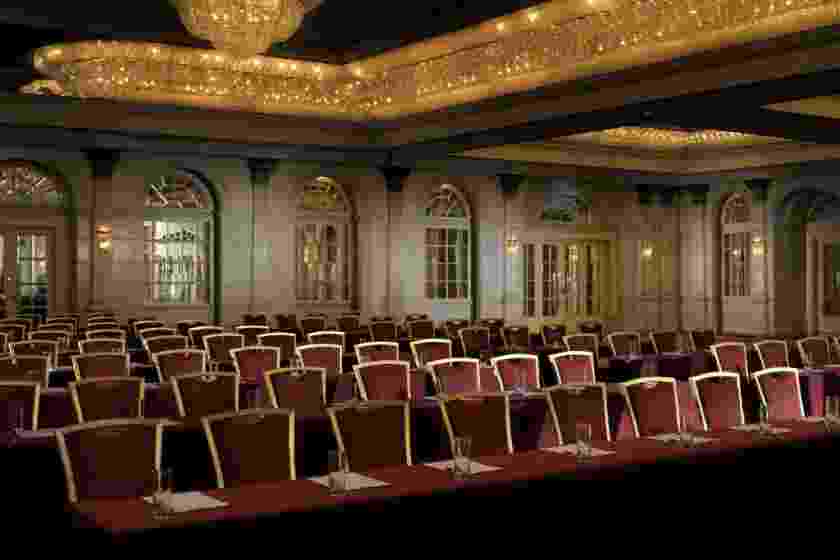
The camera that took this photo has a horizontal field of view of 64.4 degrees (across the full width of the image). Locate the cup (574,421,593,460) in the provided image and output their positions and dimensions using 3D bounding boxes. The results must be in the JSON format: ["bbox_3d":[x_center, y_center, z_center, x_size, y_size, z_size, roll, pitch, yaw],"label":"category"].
[{"bbox_3d":[0.884,0.873,3.586,0.061,0.186,0.041,0,0,21],"label":"cup"}]

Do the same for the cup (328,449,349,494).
[{"bbox_3d":[-0.386,0.890,3.122,0.086,0.193,0.180,0,0,-8],"label":"cup"}]

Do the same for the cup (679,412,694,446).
[{"bbox_3d":[1.559,0.870,3.898,0.071,0.170,0.159,0,0,21],"label":"cup"}]

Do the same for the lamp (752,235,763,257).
[{"bbox_3d":[9.046,-0.883,17.791,0.241,0.571,0.058,0,0,31],"label":"lamp"}]

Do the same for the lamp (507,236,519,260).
[{"bbox_3d":[2.390,-0.839,17.101,0.303,0.569,0.099,0,0,-31],"label":"lamp"}]

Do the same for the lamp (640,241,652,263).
[{"bbox_3d":[6.473,-0.787,18.912,0.394,0.581,0.110,0,0,-32],"label":"lamp"}]

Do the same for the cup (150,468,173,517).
[{"bbox_3d":[-1.084,0.897,2.807,0.078,0.183,0.105,0,0,-22],"label":"cup"}]
